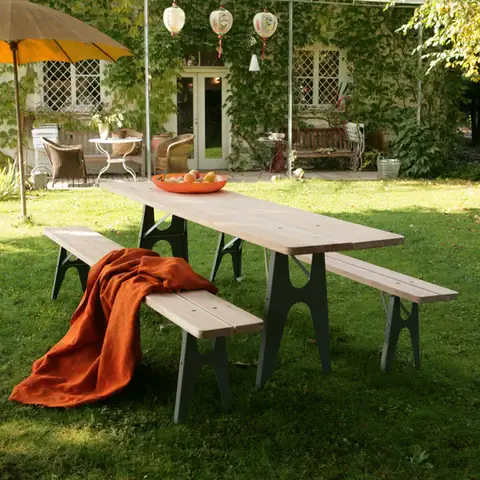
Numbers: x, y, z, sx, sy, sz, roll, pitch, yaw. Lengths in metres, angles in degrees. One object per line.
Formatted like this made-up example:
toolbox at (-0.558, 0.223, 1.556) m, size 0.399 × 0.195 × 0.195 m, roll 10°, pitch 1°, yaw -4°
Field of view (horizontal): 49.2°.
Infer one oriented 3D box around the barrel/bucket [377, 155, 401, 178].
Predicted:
barrel/bucket at (2.971, -1.465, 10.656) m, size 0.485 × 0.551 × 0.390 m, roll 2°, pitch 10°, yaw -1°

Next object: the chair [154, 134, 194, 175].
chair at (-1.142, -1.410, 9.125) m, size 0.757 × 0.810 × 0.699 m, roll 13°, pitch 19°, yaw 42°

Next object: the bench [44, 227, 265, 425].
bench at (-0.607, 0.329, 3.158) m, size 0.621 × 0.495 × 2.361 m, roll -7°, pitch 14°, yaw -34°

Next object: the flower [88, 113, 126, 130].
flower at (-2.580, -2.358, 10.269) m, size 0.598 × 0.267 × 0.606 m, roll 3°, pitch 8°, yaw 20°

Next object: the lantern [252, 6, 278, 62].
lantern at (0.375, -3.161, 7.966) m, size 0.342 × 0.732 × 0.343 m, roll 19°, pitch 39°, yaw 25°

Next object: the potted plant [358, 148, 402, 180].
potted plant at (2.996, -1.556, 10.857) m, size 0.690 × 0.778 × 0.793 m, roll -7°, pitch 15°, yaw -21°

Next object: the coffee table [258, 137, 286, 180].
coffee table at (0.639, -1.795, 11.361) m, size 0.624 × 1.160 × 0.673 m, roll -8°, pitch 17°, yaw -28°

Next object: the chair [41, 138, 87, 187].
chair at (-2.817, -1.265, 8.304) m, size 0.541 × 0.850 × 0.561 m, roll -9°, pitch 19°, yaw -37°

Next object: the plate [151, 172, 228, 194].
plate at (-0.375, -0.412, 3.803) m, size 0.675 × 0.124 × 0.704 m, roll 1°, pitch 3°, yaw -2°

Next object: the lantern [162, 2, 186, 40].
lantern at (-0.934, -3.174, 7.349) m, size 0.284 × 0.462 × 0.710 m, roll -1°, pitch 12°, yaw -8°

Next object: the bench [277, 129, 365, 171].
bench at (1.975, -2.180, 11.806) m, size 2.140 × 0.940 × 0.826 m, roll -3°, pitch 16°, yaw -7°

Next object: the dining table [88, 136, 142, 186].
dining table at (-2.355, -1.274, 9.656) m, size 1.077 × 1.230 × 1.084 m, roll 0°, pitch 15°, yaw -6°
